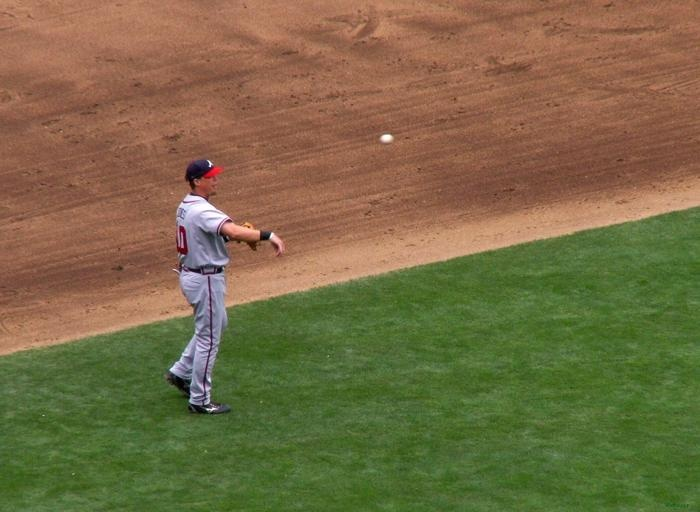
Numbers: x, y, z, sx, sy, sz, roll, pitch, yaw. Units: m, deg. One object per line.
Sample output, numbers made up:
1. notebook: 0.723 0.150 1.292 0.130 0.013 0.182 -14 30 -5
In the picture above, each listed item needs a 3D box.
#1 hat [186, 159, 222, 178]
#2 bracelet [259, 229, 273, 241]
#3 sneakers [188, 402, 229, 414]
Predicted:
1. hat: -2.060 -1.198 30.888 0.446 0.179 0.271 -7 18 -4
2. bracelet: -1.168 -0.271 30.736 0.181 0.150 0.301 -6 19 5
3. sneakers: -1.966 2.201 30.965 0.618 0.199 0.192 -1 12 2
